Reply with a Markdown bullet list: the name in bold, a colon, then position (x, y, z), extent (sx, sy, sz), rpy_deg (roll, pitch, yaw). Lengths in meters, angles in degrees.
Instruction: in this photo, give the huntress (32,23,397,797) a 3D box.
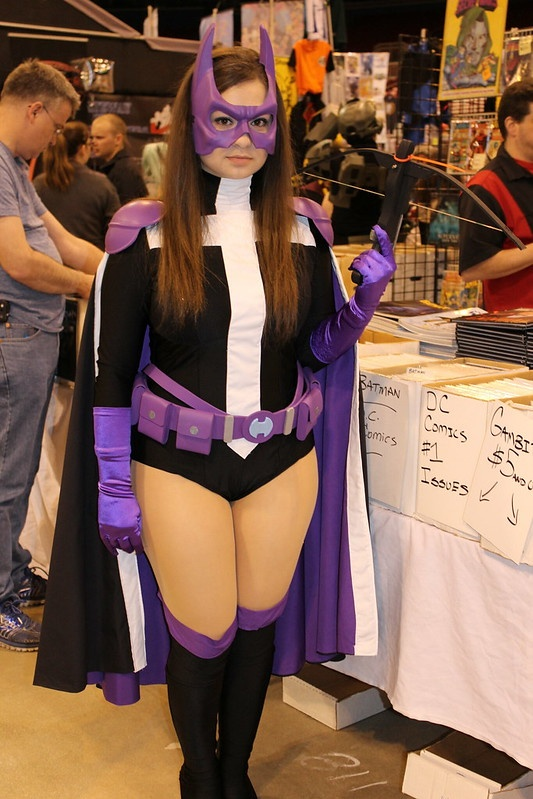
- **huntress**: position (-0.118, 0.305, 1.370), extent (0.580, 1.826, 0.638), rpy_deg (-4, 26, -22)
